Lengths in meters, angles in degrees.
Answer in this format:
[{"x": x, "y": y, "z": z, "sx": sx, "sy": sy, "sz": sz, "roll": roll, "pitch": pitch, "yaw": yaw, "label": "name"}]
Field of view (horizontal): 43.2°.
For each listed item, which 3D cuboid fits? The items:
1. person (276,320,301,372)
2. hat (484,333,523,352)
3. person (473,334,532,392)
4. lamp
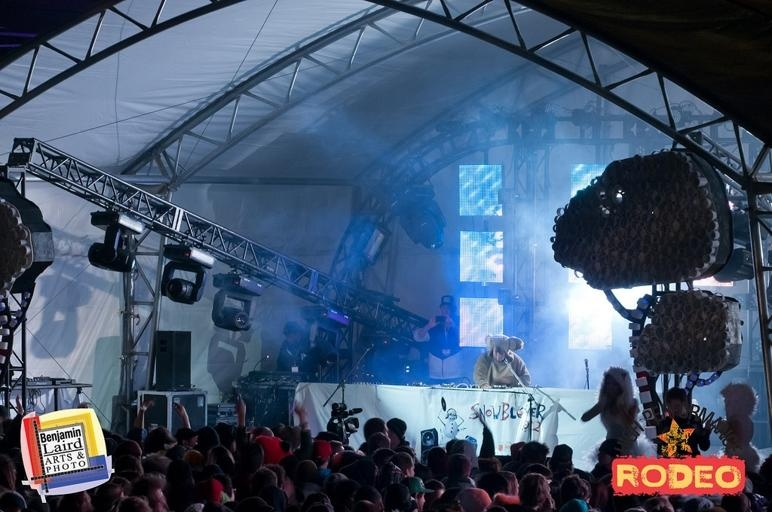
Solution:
[{"x": -2.320, "y": 2.148, "z": 23.309, "sx": 0.609, "sy": 1.237, "sz": 0.493, "roll": -3, "pitch": -13, "yaw": 5, "label": "person"}, {"x": 2.463, "y": 1.818, "z": 20.401, "sx": 0.597, "sy": 0.274, "sz": 0.708, "roll": 2, "pitch": -9, "yaw": 15, "label": "hat"}, {"x": 2.137, "y": 2.119, "z": 19.768, "sx": 1.106, "sy": 1.435, "sz": 1.013, "roll": 0, "pitch": -16, "yaw": 18, "label": "person"}, {"x": -4.352, "y": 0.414, "z": 20.928, "sx": 3.788, "sy": 1.258, "sz": 1.001, "roll": 29, "pitch": -12, "yaw": -21, "label": "lamp"}]
